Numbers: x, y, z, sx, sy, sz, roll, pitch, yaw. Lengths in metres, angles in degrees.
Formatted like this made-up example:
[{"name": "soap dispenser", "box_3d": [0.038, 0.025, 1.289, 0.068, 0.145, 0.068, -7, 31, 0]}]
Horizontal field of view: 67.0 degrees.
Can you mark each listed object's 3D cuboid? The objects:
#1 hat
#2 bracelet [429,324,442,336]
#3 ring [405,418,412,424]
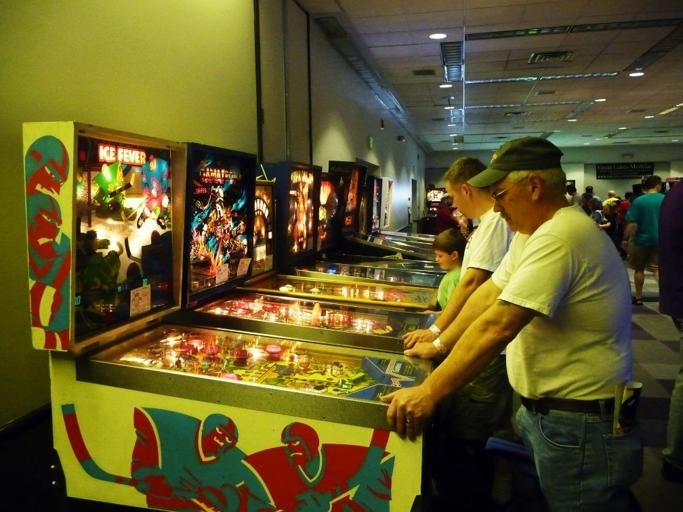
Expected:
[{"name": "hat", "box_3d": [0.716, -0.383, 2.042, 0.373, 0.173, 0.235, -4, 6, 31]}, {"name": "bracelet", "box_3d": [0.476, 0.374, 2.632, 0.039, 0.053, 0.057, -38, 27, -24]}, {"name": "ring", "box_3d": [0.261, 0.637, 2.001, 0.021, 0.020, 0.023, 5, -5, 0]}]
